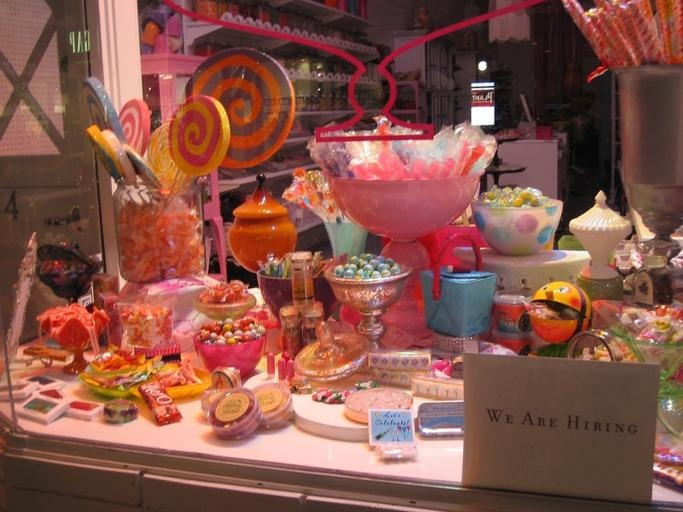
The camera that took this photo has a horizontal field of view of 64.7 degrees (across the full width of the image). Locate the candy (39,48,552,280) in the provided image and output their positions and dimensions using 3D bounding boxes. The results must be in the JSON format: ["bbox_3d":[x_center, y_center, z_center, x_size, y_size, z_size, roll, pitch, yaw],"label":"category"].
[{"bbox_3d":[-0.244,-0.182,1.573,1.032,0.445,0.480,4,-3,-27],"label":"candy"}]

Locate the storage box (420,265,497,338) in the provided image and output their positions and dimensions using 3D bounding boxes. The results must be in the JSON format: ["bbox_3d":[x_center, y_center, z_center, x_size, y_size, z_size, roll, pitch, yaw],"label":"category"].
[{"bbox_3d":[0.269,0.106,1.280,0.160,0.167,0.136,1,1,40],"label":"storage box"}]

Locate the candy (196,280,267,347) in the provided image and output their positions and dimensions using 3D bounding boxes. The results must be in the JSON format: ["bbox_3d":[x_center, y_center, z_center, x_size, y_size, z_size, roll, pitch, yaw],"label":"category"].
[{"bbox_3d":[-0.258,0.126,1.255,0.130,0.136,0.136,0,5,7],"label":"candy"}]

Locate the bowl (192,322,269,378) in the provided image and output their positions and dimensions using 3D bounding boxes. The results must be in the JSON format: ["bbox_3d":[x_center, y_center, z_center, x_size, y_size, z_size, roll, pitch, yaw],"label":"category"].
[{"bbox_3d":[-0.250,0.186,1.180,0.125,0.096,0.132,0,-2,0],"label":"bowl"}]

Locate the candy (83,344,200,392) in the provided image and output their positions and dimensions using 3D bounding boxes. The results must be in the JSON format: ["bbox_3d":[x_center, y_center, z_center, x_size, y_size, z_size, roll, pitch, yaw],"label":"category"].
[{"bbox_3d":[-0.441,0.252,1.168,0.162,0.052,0.129,6,1,-12],"label":"candy"}]
